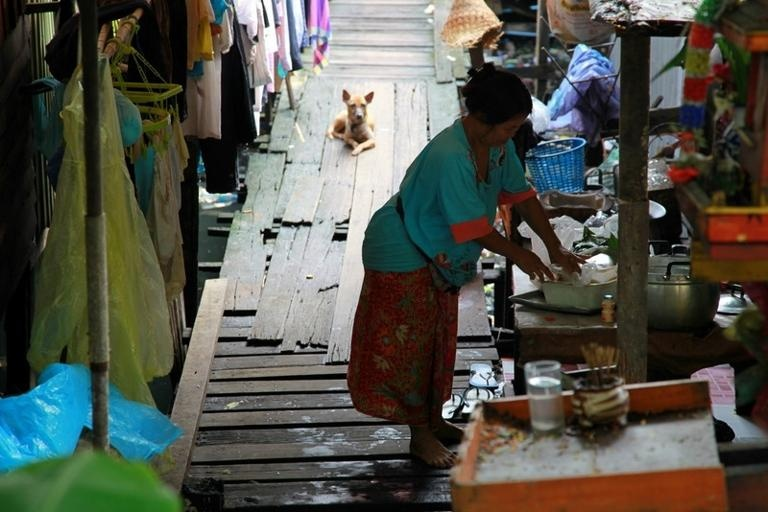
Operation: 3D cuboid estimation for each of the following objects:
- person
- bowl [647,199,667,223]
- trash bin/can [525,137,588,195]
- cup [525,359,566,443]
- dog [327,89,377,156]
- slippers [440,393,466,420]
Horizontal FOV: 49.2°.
[{"bbox_3d":[0.399,0.061,4.341,1.097,2.055,0.721,15,19,27],"label":"person"},{"bbox_3d":[1.746,-0.278,5.339,0.081,0.122,0.346,0,16,18],"label":"bowl"},{"bbox_3d":[1.375,-0.746,6.774,0.440,0.371,0.485,-18,12,-8],"label":"trash bin/can"},{"bbox_3d":[0.556,0.484,2.846,0.121,0.225,0.129,-2,13,0],"label":"cup"},{"bbox_3d":[-0.300,-1.435,8.763,0.497,0.651,0.929,3,16,-16],"label":"dog"},{"bbox_3d":[0.414,0.862,4.905,0.067,0.058,0.199,5,38,13],"label":"slippers"}]
